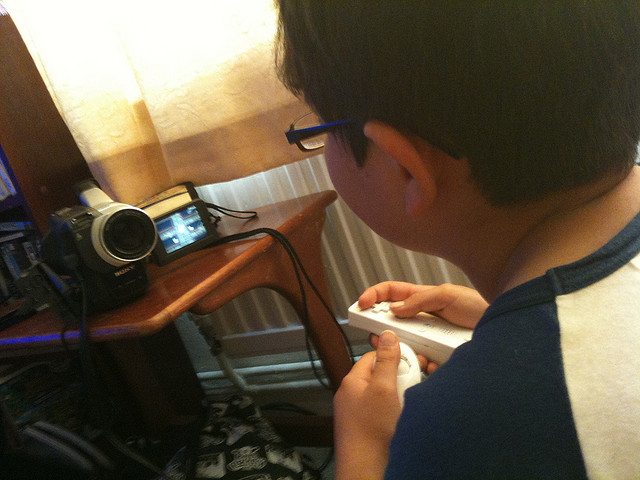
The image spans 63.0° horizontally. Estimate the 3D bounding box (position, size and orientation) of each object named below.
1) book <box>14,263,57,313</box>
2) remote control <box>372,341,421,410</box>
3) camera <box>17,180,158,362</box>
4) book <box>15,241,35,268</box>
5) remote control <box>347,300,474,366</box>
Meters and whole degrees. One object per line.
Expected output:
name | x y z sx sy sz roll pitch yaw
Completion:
book | -0.494 0.083 0.903 0.057 0.066 0.049 -3 -4 44
remote control | 0.118 0.204 0.778 0.050 0.037 0.088 -16 53 33
camera | -0.418 0.021 0.915 0.332 0.168 0.214 12 24 42
book | -0.700 0.038 1.234 0.036 0.046 0.049 -9 15 28
remote control | 0.155 0.143 0.909 0.176 0.035 0.090 17 30 34
